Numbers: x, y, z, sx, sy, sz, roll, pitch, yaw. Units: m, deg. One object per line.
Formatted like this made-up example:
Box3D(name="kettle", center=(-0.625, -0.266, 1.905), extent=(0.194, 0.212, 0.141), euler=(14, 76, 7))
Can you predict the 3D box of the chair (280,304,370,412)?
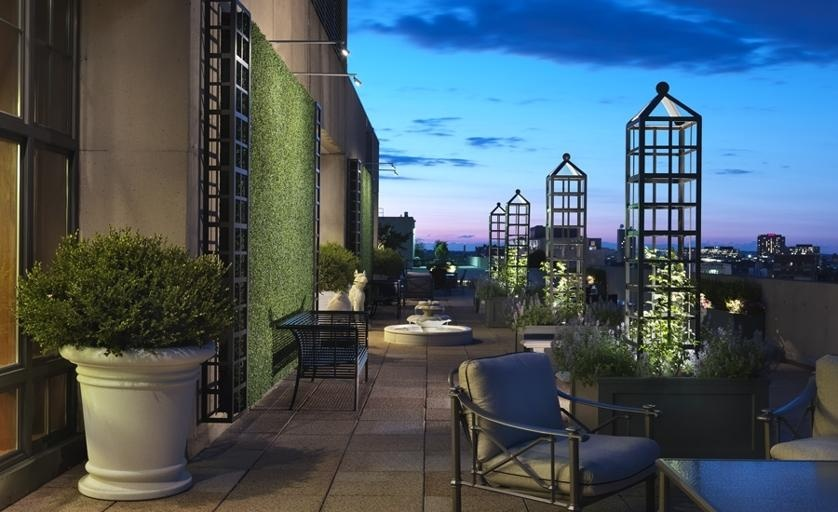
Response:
Box3D(name="chair", center=(-1.283, 1.270, 9.996), extent=(1.058, 0.943, 1.958), euler=(1, 4, -2))
